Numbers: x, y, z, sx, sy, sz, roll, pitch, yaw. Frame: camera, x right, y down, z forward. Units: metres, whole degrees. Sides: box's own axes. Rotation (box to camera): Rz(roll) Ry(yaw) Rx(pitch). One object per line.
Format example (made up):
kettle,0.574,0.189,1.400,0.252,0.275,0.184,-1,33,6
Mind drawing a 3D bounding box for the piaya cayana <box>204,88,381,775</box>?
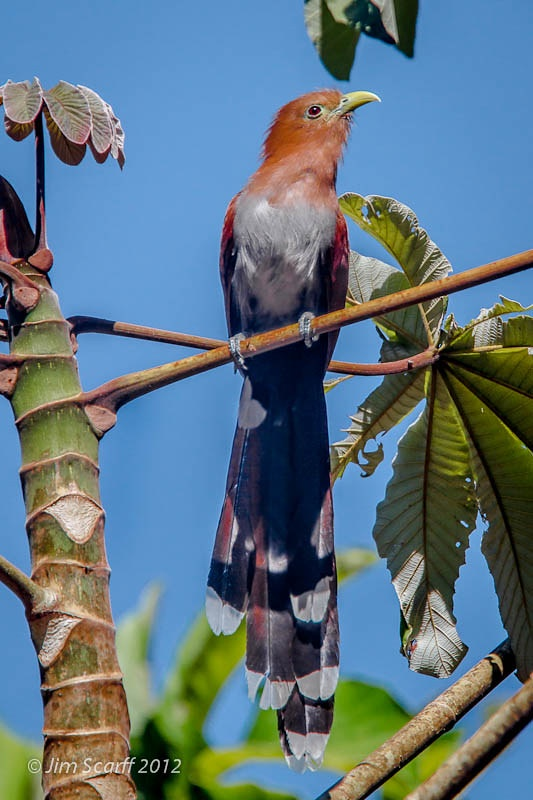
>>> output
piaya cayana,0.040,0.140,4.647,0.483,2.188,0.572,5,-32,-7
